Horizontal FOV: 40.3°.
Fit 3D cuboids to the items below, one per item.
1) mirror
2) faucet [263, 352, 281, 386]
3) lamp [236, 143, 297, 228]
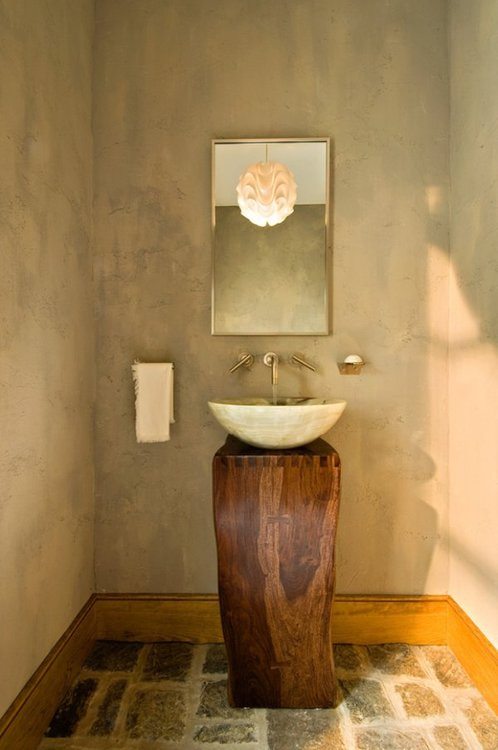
[{"bbox_3d":[0.078,-0.491,2.468,0.428,0.864,0.025,0,-24,-1],"label":"mirror"},{"bbox_3d":[0.079,-0.020,2.407,0.058,0.117,0.114,0,8,1],"label":"faucet"},{"bbox_3d":[0.058,-0.658,2.473,0.213,0.063,0.276,-13,-28,3],"label":"lamp"}]
